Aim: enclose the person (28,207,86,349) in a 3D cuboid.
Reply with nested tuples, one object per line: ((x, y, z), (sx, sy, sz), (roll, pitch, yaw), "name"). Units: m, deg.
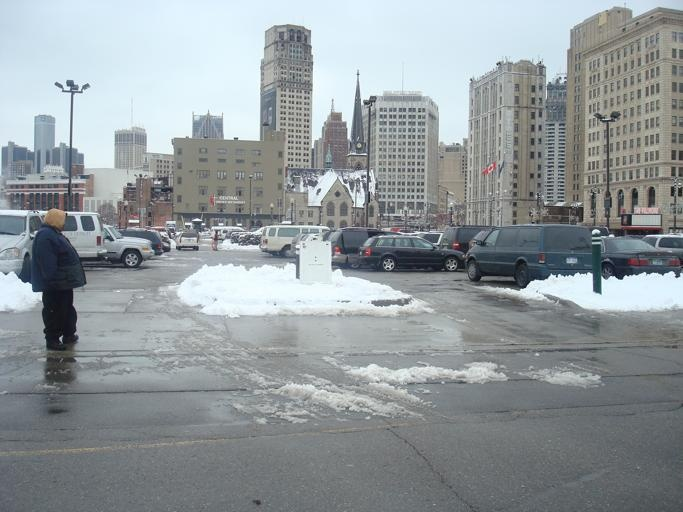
((-4.153, 0.321, 11.311), (0.615, 2.020, 0.633), (2, 3, 31), "person")

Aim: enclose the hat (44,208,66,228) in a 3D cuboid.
((-4.320, -0.583, 11.453), (0.303, 0.344, 0.242), (12, 0, -42), "hat")

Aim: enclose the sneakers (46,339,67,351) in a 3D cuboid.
((-4.126, 1.294, 11.077), (0.304, 0.139, 0.125), (-4, -4, 34), "sneakers")
